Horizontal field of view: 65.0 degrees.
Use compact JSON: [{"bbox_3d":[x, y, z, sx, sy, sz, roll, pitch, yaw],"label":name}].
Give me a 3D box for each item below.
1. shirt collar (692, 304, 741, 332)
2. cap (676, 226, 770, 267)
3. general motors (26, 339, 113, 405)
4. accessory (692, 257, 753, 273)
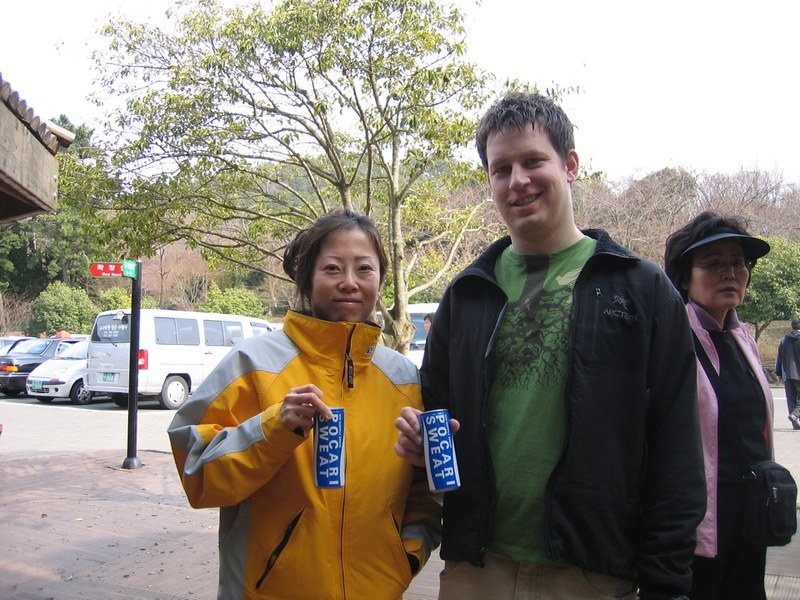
[{"bbox_3d":[1.643,0.087,3.303,0.210,0.136,0.160,5,-7,41],"label":"shirt collar"},{"bbox_3d":[1.750,-0.290,3.312,0.217,0.097,0.302,7,-24,-24],"label":"cap"},{"bbox_3d":[-8.107,1.862,15.869,1.363,1.237,2.505,-6,-10,37],"label":"general motors"},{"bbox_3d":[1.677,-0.181,3.283,0.131,0.035,0.133,3,-11,-15],"label":"accessory"}]
